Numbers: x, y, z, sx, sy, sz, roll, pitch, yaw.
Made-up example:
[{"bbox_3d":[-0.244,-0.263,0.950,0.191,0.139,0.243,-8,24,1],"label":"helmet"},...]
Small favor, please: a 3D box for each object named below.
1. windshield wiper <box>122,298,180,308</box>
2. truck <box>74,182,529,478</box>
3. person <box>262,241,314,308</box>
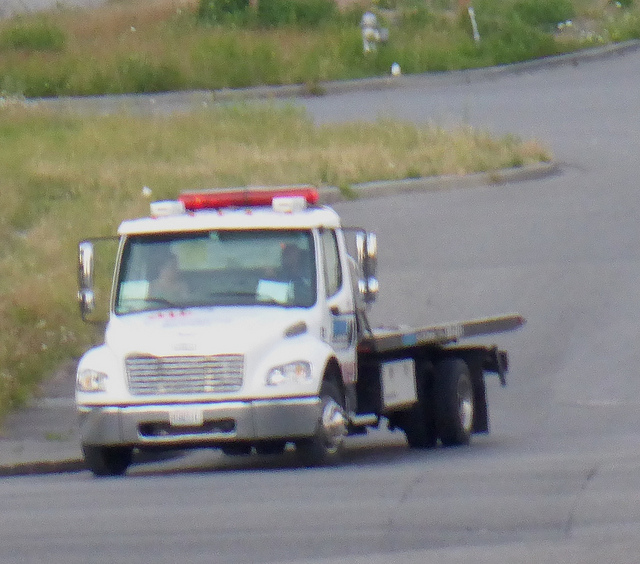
[{"bbox_3d":[-2.332,0.243,27.790,0.764,0.046,0.105,7,53,14],"label":"windshield wiper"},{"bbox_3d":[-0.298,0.693,29.835,2.824,6.245,2.837,-3,84,17],"label":"truck"},{"bbox_3d":[-0.394,-0.115,27.869,0.553,0.261,0.962,0,91,-6],"label":"person"}]
